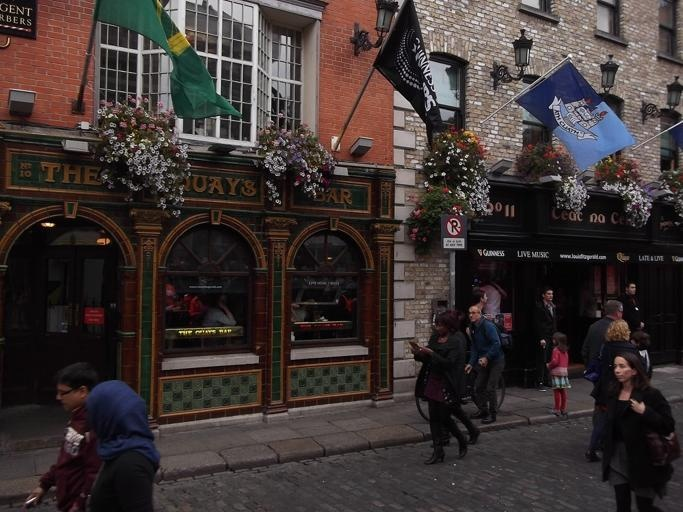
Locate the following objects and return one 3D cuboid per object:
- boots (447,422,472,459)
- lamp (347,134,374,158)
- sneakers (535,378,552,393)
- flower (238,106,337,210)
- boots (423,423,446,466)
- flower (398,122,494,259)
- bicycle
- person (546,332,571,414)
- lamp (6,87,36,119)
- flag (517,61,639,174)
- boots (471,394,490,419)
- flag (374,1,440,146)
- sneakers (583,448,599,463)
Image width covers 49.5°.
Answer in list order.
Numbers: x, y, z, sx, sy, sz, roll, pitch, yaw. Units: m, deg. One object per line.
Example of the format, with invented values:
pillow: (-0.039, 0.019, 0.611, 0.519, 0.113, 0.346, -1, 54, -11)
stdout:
boots: (1.919, 2.942, 12.298, 0.356, 0.671, 0.635, 3, 6, 11)
lamp: (0.429, -2.199, 14.990, 0.476, 0.401, 0.375, -1, 7, -20)
sneakers: (4.552, 2.940, 16.716, 0.150, 0.186, 0.455, 2, 5, 34)
flower: (-0.992, -1.903, 14.564, 1.525, 1.615, 1.091, -8, 3, -13)
boots: (1.538, 3.032, 12.082, 0.298, 0.592, 0.501, 3, 7, 16)
flower: (2.256, -1.381, 15.738, 1.077, 2.631, 1.528, 7, 8, 39)
bicycle: (2.437, 2.605, 14.389, 1.921, 1.187, 0.939, 4, -9, -39)
person: (4.200, 2.310, 14.341, 0.389, 1.591, 0.537, 4, 6, 20)
lamp: (-5.283, -2.483, 12.215, 0.383, 0.332, 0.463, 8, -49, -30)
flag: (5.282, -3.160, 16.989, 2.593, 2.316, 0.223, -17, 5, -12)
boots: (2.643, 2.859, 13.931, 0.438, 0.465, 0.238, -2, -3, 22)
flag: (1.291, -3.505, 13.948, 1.282, 2.633, 0.541, 2, 6, 2)
sneakers: (4.064, 3.241, 12.038, 0.310, 0.222, 0.129, 2, 2, -35)
